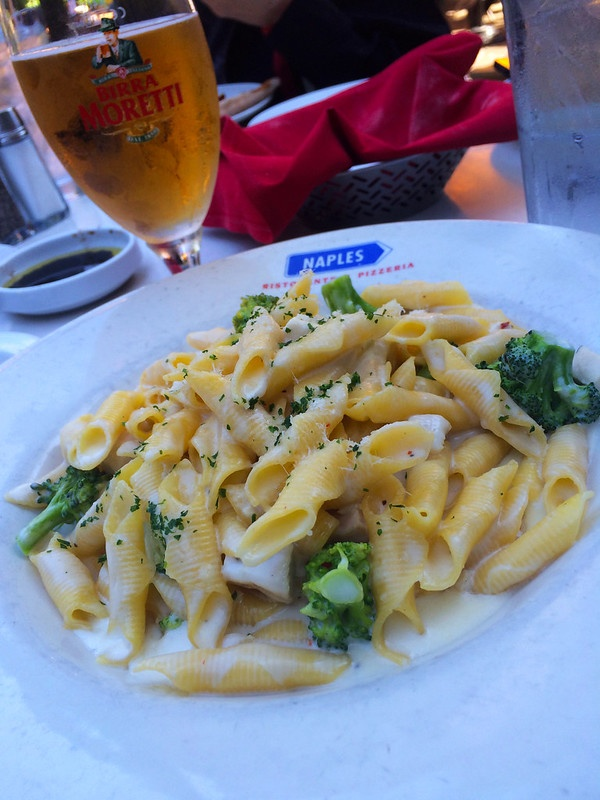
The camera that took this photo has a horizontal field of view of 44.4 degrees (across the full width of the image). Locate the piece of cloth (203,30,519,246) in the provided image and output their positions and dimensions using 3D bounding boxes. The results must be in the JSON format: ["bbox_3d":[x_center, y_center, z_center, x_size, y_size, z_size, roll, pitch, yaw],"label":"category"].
[{"bbox_3d":[0.216,-0.633,2.242,0.857,0.244,0.610,-24,44,12],"label":"piece of cloth"}]
